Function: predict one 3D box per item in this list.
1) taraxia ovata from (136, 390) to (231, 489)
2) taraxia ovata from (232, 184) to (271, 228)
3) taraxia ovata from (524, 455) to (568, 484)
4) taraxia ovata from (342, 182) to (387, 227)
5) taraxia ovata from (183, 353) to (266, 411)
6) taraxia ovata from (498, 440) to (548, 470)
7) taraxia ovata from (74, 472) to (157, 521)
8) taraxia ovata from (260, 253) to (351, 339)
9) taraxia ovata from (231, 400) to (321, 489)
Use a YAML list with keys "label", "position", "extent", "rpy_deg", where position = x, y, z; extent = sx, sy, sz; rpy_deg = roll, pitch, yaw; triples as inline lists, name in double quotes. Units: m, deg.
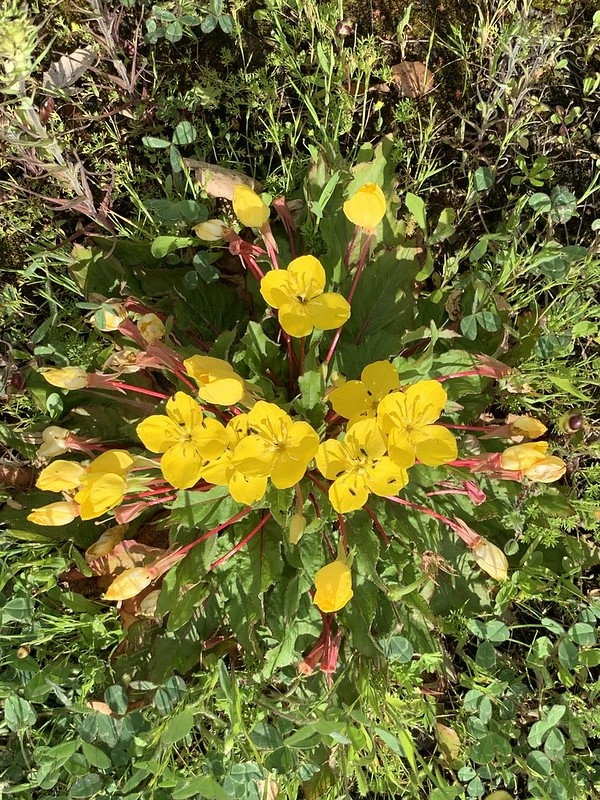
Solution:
- label: "taraxia ovata"
  position: [-0.304, 0.103, 1.474]
  extent: [0.201, 0.081, 0.201]
  rpy_deg: [43, 87, 3]
- label: "taraxia ovata"
  position: [-0.142, -0.530, 1.652]
  extent: [0.082, 0.154, 0.113]
  rpy_deg: [-25, 86, -1]
- label: "taraxia ovata"
  position: [0.694, 0.184, 1.630]
  extent: [0.138, 0.041, 0.090]
  rpy_deg: [-1, 121, -14]
- label: "taraxia ovata"
  position: [0.180, -0.538, 1.636]
  extent: [0.120, 0.118, 0.072]
  rpy_deg: [-3, 48, -6]
- label: "taraxia ovata"
  position: [-0.195, -0.036, 1.442]
  extent: [0.193, 0.077, 0.097]
  rpy_deg: [24, 105, -9]
- label: "taraxia ovata"
  position: [0.594, 0.154, 1.569]
  extent: [0.122, 0.077, 0.075]
  rpy_deg: [-9, 86, 0]
- label: "taraxia ovata"
  position: [-0.471, 0.226, 1.454]
  extent: [0.141, 0.055, 0.128]
  rpy_deg: [-27, 98, -2]
- label: "taraxia ovata"
  position: [0.006, -0.259, 1.544]
  extent: [0.225, 0.079, 0.224]
  rpy_deg: [-43, 109, -11]
- label: "taraxia ovata"
  position: [-0.070, 0.127, 1.562]
  extent: [0.199, 0.229, 0.195]
  rpy_deg: [34, 87, 3]
